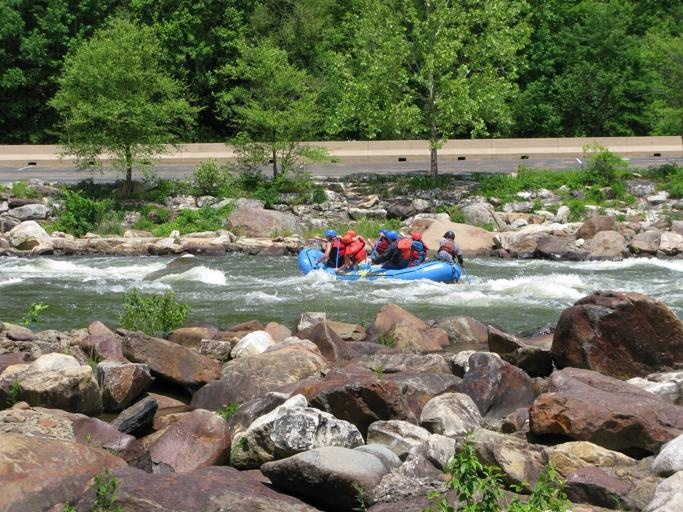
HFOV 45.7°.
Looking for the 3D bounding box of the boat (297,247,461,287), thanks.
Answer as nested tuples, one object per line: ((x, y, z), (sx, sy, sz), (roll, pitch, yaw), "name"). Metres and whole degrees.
((1.118, 0.393, 21.895), (3.282, 0.606, 1.516), (2, 1, 15), "boat")

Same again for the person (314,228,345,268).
((-0.354, -0.219, 23.683), (0.697, 1.191, 0.834), (-32, 49, -33), "person")

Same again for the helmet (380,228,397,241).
((1.316, -0.607, 22.355), (0.369, 0.267, 0.279), (18, 12, 19), "helmet")

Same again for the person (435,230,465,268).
((2.927, -0.163, 21.778), (0.675, 0.844, 1.088), (0, 12, 7), "person")

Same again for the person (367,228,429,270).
((1.578, -0.221, 22.170), (1.271, 0.614, 0.943), (-2, 20, 22), "person")

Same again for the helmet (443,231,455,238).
((2.962, -0.601, 22.224), (0.283, 0.185, 0.370), (3, 4, 3), "helmet")
